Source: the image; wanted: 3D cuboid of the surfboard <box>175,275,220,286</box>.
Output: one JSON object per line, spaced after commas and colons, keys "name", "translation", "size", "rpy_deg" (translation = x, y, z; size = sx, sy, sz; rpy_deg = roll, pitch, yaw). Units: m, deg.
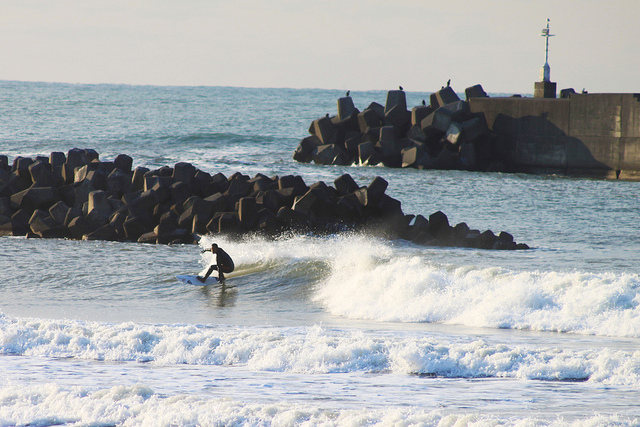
{"name": "surfboard", "translation": [-5.120, 2.772, 70.270], "size": [2.096, 0.603, 0.293], "rpy_deg": [2, -21, -22]}
